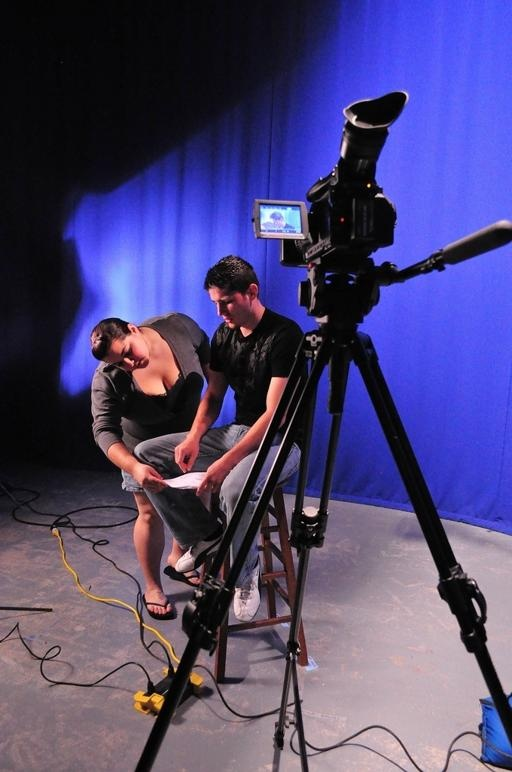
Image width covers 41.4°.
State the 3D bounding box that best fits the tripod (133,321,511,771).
[{"bbox_3d":[0.224,0.463,1.626,0.705,1.243,0.806,6,11,25],"label":"tripod"}]

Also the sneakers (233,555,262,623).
[{"bbox_3d":[-0.017,0.710,2.377,0.072,0.215,0.086,-8,-22,32],"label":"sneakers"}]
